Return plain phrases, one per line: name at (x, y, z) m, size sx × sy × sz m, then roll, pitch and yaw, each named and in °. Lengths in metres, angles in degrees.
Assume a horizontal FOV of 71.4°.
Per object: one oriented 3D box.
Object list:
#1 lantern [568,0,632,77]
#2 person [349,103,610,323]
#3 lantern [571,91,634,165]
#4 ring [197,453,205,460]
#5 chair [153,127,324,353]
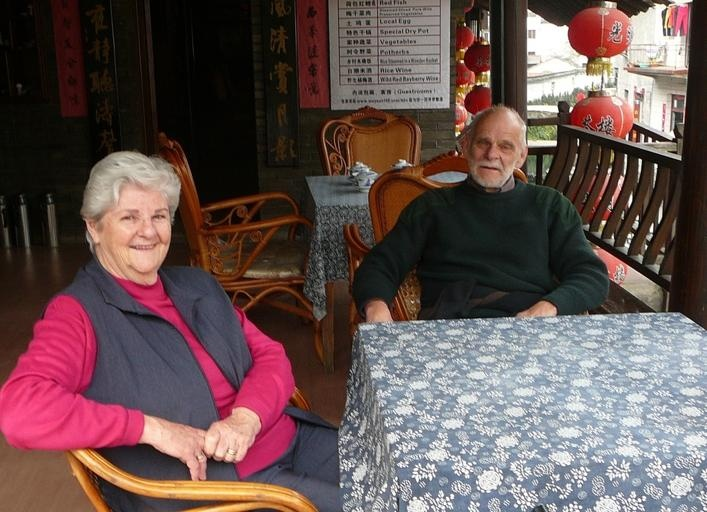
lantern at (2.282, -2.162, 4.854) m, size 0.579 × 0.724 × 0.602 m, roll -2°, pitch 27°, yaw 1°
person at (0.492, -0.038, 1.889) m, size 0.919 × 1.097 × 0.536 m, roll 4°, pitch 5°, yaw 4°
lantern at (2.524, -1.365, 5.010) m, size 0.626 × 0.584 × 0.554 m, roll -22°, pitch 24°, yaw -33°
ring at (-0.354, 0.470, 1.155) m, size 0.012 × 0.017 × 0.016 m, roll 0°, pitch 15°, yaw -15°
chair at (-0.649, -0.082, 3.040) m, size 0.905 × 1.330 × 0.783 m, roll -8°, pitch 20°, yaw -23°
